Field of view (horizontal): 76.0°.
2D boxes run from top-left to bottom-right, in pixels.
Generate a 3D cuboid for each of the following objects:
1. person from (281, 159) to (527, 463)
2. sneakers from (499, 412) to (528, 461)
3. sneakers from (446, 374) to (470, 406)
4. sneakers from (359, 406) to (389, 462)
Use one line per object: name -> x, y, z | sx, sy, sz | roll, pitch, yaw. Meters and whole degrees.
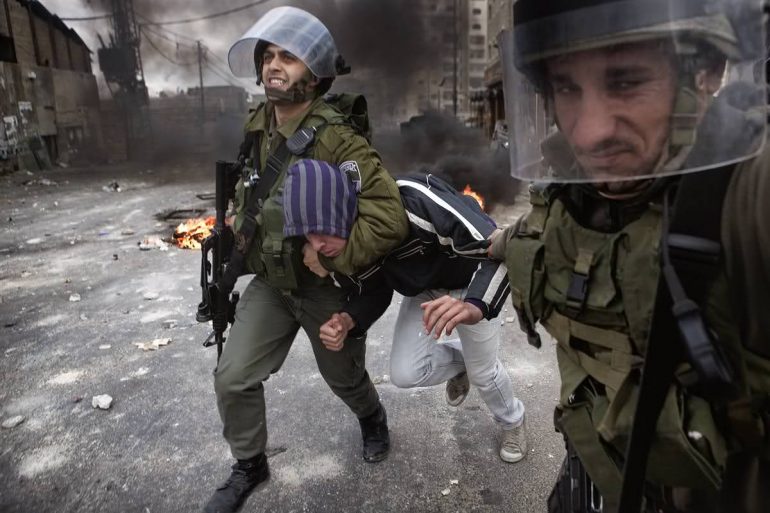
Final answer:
person -> 0.053, 0.012, 3.061 | 1.484, 1.935, 0.987 | -26, 21, -39
sneakers -> 0.757, 1.052, 2.907 | 0.156, 0.163, 0.447 | 4, 6, 15
sneakers -> 0.445, 0.809, 3.070 | 0.090, 0.279, 0.116 | 26, 37, 36
sneakers -> -0.061, 1.041, 2.934 | 0.131, 0.217, 0.373 | -9, 11, 6
